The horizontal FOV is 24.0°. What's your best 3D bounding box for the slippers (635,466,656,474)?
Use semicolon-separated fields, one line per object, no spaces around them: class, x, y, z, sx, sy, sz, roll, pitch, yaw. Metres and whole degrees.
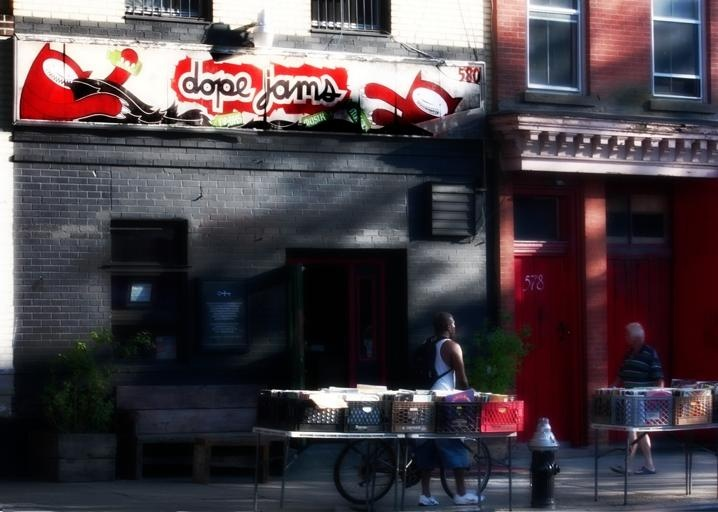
slippers;4.547;3.430;26.945;0.342;0.126;0.120;4;1;2

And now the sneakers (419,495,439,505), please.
sneakers;1.050;3.597;24.869;0.320;0.127;0.124;2;-1;-41

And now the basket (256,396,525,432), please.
basket;0.467;2.240;24.240;3.651;0.598;0.895;0;-5;6

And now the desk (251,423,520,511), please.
desk;0.112;3.132;25.016;4.257;1.217;3.255;-3;-6;35

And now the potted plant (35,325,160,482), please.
potted plant;-4.229;2.324;26.463;1.533;2.361;0.862;2;-5;-20

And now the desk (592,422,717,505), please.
desk;4.832;3.283;27.491;2.138;1.195;5.534;0;-5;8

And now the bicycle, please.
bicycle;0.801;3.208;25.276;2.533;1.272;0.973;0;0;-7

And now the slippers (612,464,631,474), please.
slippers;4.138;3.413;27.018;0.216;0.108;0.357;2;-3;13

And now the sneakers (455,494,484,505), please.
sneakers;1.637;3.594;24.949;0.419;0.143;0.155;-1;-2;-12
